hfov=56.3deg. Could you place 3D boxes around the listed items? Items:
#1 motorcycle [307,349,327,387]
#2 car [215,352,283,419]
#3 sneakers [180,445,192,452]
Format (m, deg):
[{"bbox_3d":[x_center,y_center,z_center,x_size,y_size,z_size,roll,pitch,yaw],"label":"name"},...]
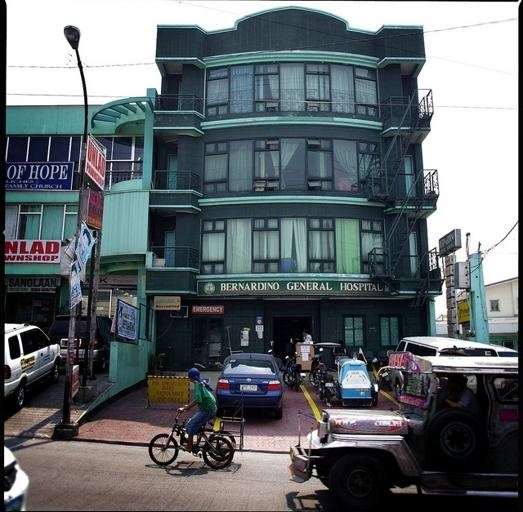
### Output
[{"bbox_3d":[1.915,4.371,18.248,0.726,1.092,1.518,3,-4,4],"label":"motorcycle"},{"bbox_3d":[-0.315,3.671,13.231,1.784,1.671,1.684,1,-6,-8],"label":"car"},{"bbox_3d":[-1.417,3.666,9.307,0.250,0.072,0.181,7,-8,-29],"label":"sneakers"}]
